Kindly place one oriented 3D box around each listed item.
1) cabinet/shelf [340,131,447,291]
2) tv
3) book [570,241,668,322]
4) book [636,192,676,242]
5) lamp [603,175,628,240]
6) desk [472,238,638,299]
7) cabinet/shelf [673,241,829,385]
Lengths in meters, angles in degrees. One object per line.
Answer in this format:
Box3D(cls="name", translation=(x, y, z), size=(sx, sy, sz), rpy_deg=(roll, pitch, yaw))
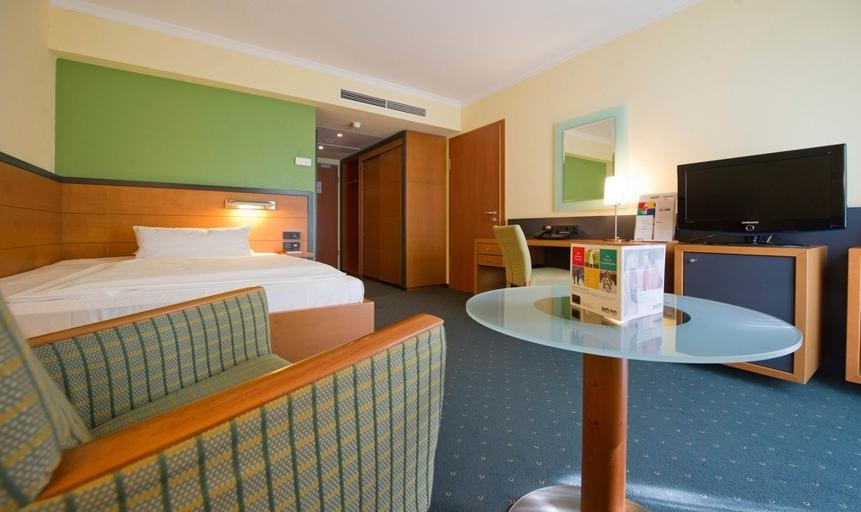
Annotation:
Box3D(cls="cabinet/shelf", translation=(-0.756, -0.594, 8.312), size=(0.820, 2.164, 2.465), rpy_deg=(-2, 2, -35))
Box3D(cls="tv", translation=(2.754, -0.471, 4.380), size=(1.235, 0.773, 0.319), rpy_deg=(0, -1, 43))
Box3D(cls="book", translation=(1.181, 0.134, 3.261), size=(0.507, 0.397, 0.533), rpy_deg=(5, 6, 42))
Box3D(cls="book", translation=(2.170, -0.370, 4.912), size=(0.073, 0.608, 0.485), rpy_deg=(9, -3, -39))
Box3D(cls="lamp", translation=(1.873, -0.457, 5.205), size=(0.175, 0.584, 0.168), rpy_deg=(-1, -3, -15))
Box3D(cls="desk", translation=(1.253, 0.173, 5.725), size=(0.736, 0.725, 1.600), rpy_deg=(-2, 4, -32))
Box3D(cls="cabinet/shelf", translation=(2.406, 0.425, 3.766), size=(0.632, 1.079, 1.203), rpy_deg=(1, 1, -43))
